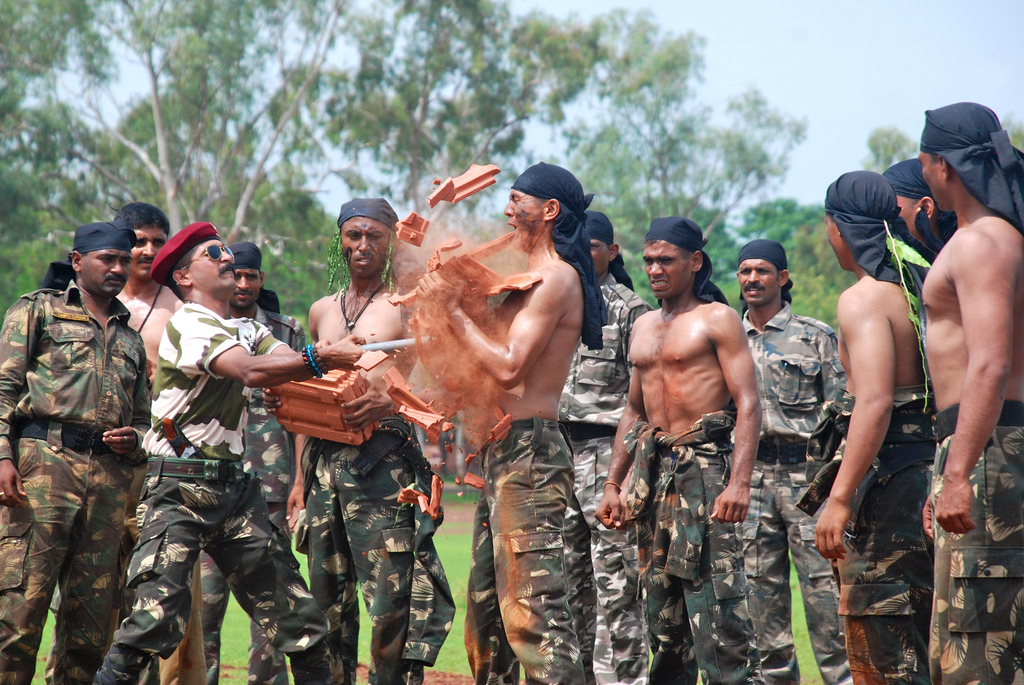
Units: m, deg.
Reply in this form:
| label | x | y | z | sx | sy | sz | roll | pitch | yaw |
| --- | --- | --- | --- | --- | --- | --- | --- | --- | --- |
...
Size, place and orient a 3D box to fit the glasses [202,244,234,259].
| label | x | y | z | sx | sy | sz | roll | pitch | yaw |
| --- | --- | --- | --- | --- | --- | --- | --- | --- | --- |
| glasses | -2.424 | -0.745 | 13.675 | 0.141 | 0.059 | 0.140 | 8 | -26 | -37 |
